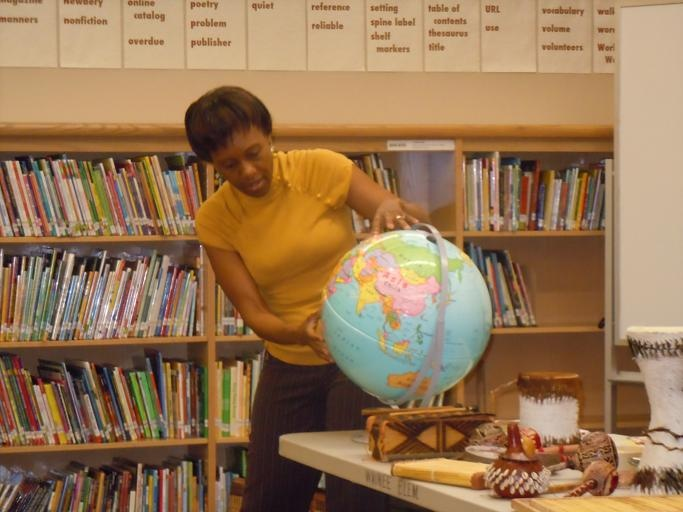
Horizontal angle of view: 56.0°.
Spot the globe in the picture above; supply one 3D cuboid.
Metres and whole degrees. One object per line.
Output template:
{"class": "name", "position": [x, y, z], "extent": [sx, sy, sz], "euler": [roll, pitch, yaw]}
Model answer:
{"class": "globe", "position": [0.145, 0.130, 1.553], "extent": [0.413, 0.399, 0.429], "euler": [9, 14, -35]}
